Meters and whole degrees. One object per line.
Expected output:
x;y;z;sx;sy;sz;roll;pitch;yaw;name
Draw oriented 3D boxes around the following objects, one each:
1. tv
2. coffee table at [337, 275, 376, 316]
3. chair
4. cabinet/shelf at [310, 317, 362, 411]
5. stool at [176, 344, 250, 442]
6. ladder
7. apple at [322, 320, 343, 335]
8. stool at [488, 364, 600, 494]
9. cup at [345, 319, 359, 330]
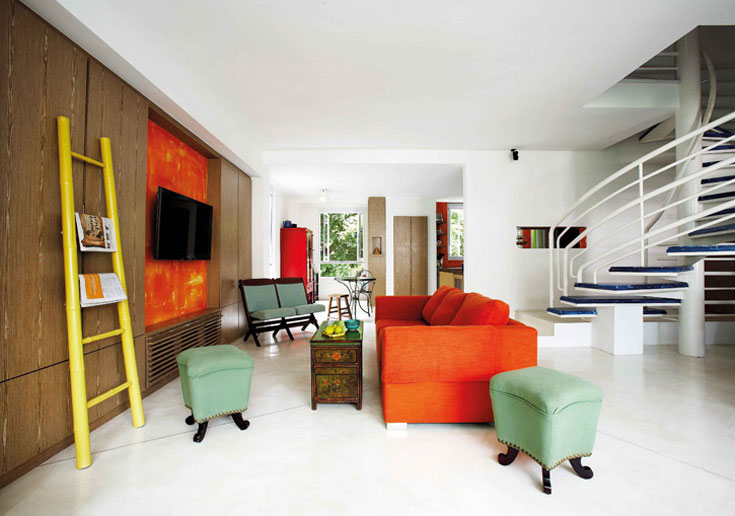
-2.300;-0.388;5.975;0.281;0.814;1.055;0;0;12;tv
-0.194;0.848;10.685;0.859;0.880;0.894;6;-6;-26;coffee table
-1.393;0.797;7.587;0.828;0.942;1.261;0;0;41;chair
-0.276;1.160;5.384;0.566;0.765;1.089;-1;1;6;cabinet/shelf
-1.513;1.263;4.915;0.715;0.951;0.724;-2;3;-27;stool
-2.411;0.264;4.430;0.406;3.004;0.715;0;1;22;ladder
-0.337;0.755;5.140;0.188;0.074;0.196;1;4;27;apple
1.519;1.427;4.199;0.876;0.880;0.861;1;4;22;stool
-0.163;0.724;5.216;0.115;0.085;0.118;1;-3;0;cup
